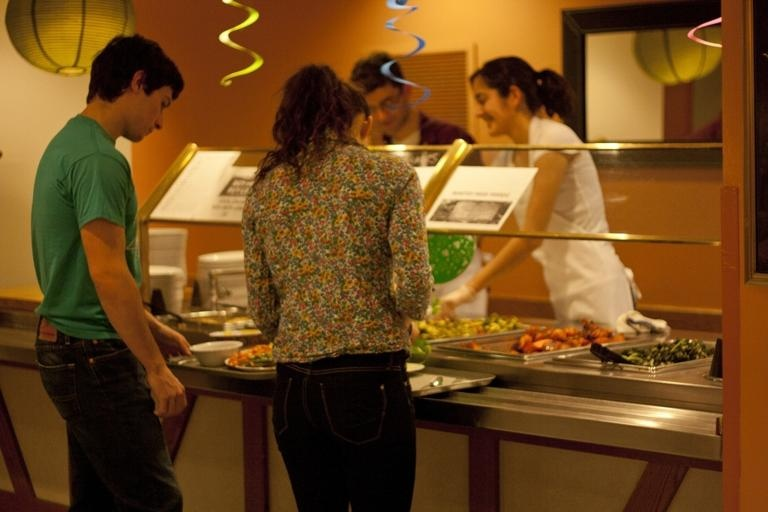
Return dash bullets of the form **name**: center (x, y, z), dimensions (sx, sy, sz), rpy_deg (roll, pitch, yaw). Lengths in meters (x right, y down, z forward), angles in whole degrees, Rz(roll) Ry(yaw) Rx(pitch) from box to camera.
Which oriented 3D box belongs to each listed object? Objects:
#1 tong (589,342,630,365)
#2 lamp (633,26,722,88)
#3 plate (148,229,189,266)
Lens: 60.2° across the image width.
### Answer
- **tong**: center (0.767, 0.343, 2.289), dimensions (0.086, 0.022, 0.087), rpy_deg (29, 2, -7)
- **lamp**: center (1.965, -1.330, 4.541), dimensions (0.395, 0.478, 0.406), rpy_deg (0, 8, 15)
- **plate**: center (-0.994, -0.034, 3.068), dimensions (0.170, 0.198, 0.161), rpy_deg (0, -3, 31)
